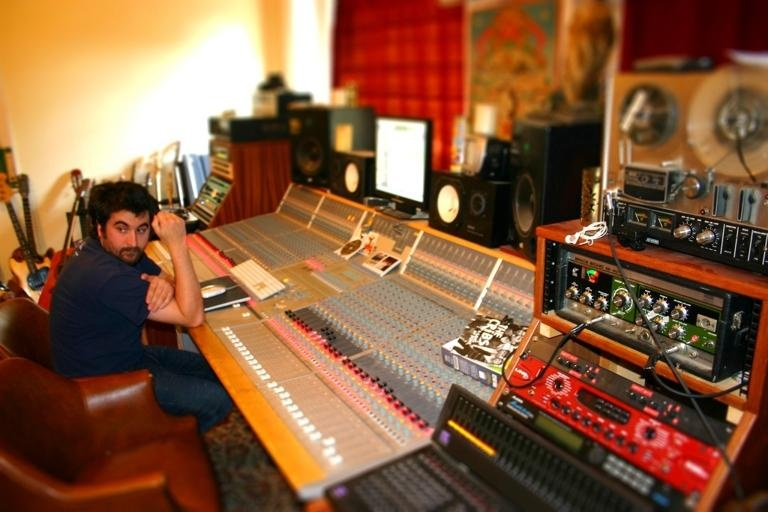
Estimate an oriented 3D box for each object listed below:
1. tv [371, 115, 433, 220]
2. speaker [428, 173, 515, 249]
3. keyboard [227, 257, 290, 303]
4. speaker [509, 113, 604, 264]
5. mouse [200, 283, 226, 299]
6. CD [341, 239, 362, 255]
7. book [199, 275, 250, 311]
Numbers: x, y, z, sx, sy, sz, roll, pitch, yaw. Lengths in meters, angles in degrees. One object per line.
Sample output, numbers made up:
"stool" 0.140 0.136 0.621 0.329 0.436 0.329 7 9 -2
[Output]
"tv" 0.109 -0.492 2.844 0.180 0.543 0.548 -8 16 -35
"speaker" 0.409 -0.238 2.512 0.119 0.337 0.448 -17 21 -36
"keyboard" -0.683 0.129 2.707 0.166 0.029 0.396 -27 35 -21
"speaker" 0.707 -0.291 2.119 0.359 0.549 0.267 3 18 22
"mouse" -0.879 0.180 2.591 0.098 0.026 0.071 -11 22 -35
"CD" -0.182 -0.042 2.940 0.110 0.019 0.090 -41 38 -2
"book" -0.818 0.204 2.571 0.163 0.037 0.212 -14 33 -27
